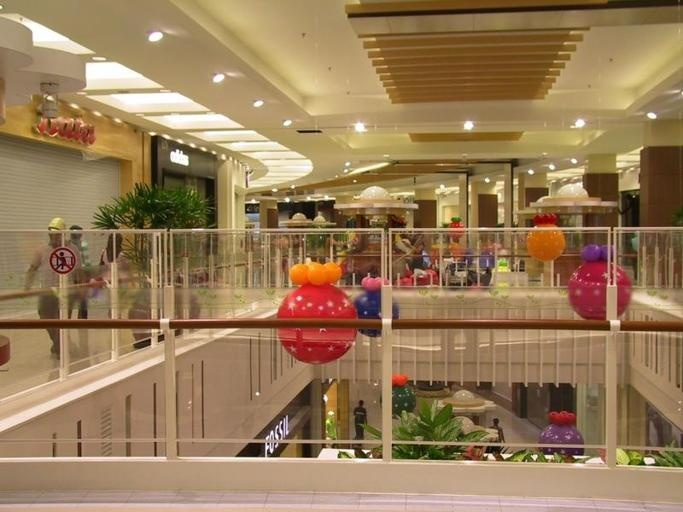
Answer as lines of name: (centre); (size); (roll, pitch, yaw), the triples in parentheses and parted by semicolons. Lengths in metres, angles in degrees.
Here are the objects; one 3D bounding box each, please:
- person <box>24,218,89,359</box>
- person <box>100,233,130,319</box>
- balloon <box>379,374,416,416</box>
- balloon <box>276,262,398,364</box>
person: (-2.582, 0.168, 4.311); (0.459, 1.103, 2.219); (-1, 1, -28)
person: (-2.276, 0.158, 4.774); (0.272, 0.810, 0.628); (-1, 1, -23)
balloon: (0.348, 0.766, 2.728); (0.201, 0.235, 0.195); (-3, 2, -34)
balloon: (-0.102, 0.352, 3.174); (0.799, 0.630, 0.499); (2, -2, -2)
